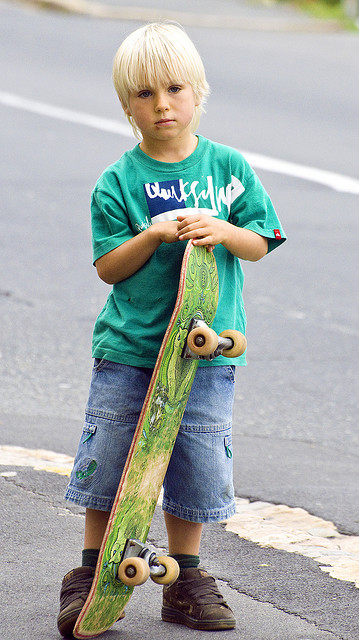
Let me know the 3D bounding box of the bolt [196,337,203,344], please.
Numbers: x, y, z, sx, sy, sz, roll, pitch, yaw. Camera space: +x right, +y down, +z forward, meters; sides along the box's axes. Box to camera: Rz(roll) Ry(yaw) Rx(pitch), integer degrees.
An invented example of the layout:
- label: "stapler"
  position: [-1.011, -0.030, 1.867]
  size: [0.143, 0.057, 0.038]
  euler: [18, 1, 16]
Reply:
- label: "bolt"
  position: [0.049, 0.051, 1.575]
  size: [0.006, 0.015, 0.020]
  euler: [-6, 14, -39]

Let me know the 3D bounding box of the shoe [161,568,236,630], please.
- label: "shoe"
  position: [0.046, 0.776, 1.838]
  size: [0.111, 0.144, 0.323]
  euler: [6, -16, -29]

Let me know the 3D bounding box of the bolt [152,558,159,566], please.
- label: "bolt"
  position: [-0.057, 0.592, 1.614]
  size: [0.007, 0.015, 0.021]
  euler: [10, 13, 29]

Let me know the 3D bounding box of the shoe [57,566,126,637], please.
- label: "shoe"
  position: [-0.247, 0.712, 1.706]
  size: [0.111, 0.244, 0.085]
  euler: [7, 0, -1]

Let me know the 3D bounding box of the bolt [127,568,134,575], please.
- label: "bolt"
  position: [-0.112, 0.585, 1.529]
  size: [0.020, 0.017, 0.003]
  euler: [11, 14, 33]

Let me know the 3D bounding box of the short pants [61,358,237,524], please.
- label: "short pants"
  position: [-0.066, 0.318, 1.868]
  size: [0.463, 0.459, 0.492]
  euler: [7, -12, -11]
